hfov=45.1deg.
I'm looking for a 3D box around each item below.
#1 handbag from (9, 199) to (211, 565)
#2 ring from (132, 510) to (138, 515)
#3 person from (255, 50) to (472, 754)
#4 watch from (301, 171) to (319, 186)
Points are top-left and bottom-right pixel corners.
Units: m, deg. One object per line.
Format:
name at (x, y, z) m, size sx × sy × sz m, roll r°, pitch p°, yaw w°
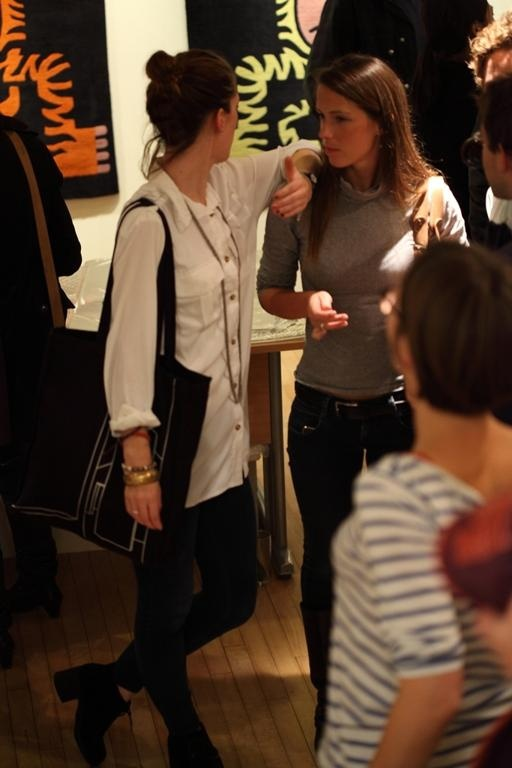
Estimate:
handbag at (-0.297, 0.010, 1.243) m, size 0.421 × 0.689 × 0.118 m, roll 2°, pitch 14°, yaw 15°
ring at (-0.235, 0.251, 1.201) m, size 0.009 × 0.012 × 0.008 m, roll 2°, pitch 8°, yaw -1°
person at (0.235, 0.070, 1.478) m, size 0.442 × 1.640 × 0.454 m, roll 2°, pitch 7°, yaw 7°
watch at (0.124, -0.477, 1.435) m, size 0.031 × 0.051 × 0.017 m, roll -7°, pitch 5°, yaw 0°
